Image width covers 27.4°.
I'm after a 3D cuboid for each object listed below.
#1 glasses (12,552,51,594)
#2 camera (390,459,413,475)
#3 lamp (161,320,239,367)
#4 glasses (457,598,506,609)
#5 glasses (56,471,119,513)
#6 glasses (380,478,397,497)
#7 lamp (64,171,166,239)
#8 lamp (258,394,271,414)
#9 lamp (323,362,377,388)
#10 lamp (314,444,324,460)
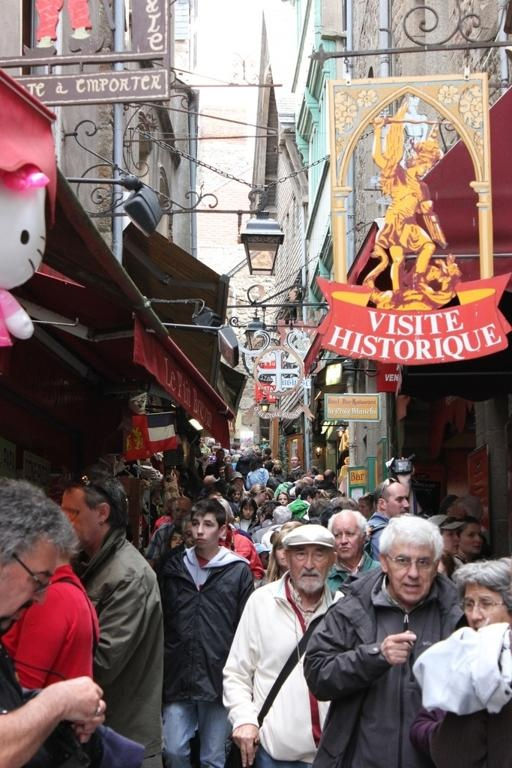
[{"bbox_3d":[-0.580,0.511,2.783,0.106,0.034,0.104,43,-7,15],"label":"glasses"},{"bbox_3d":[1.171,0.660,8.421,0.152,0.147,0.133,-2,-25,4],"label":"camera"},{"bbox_3d":[-0.519,-0.376,9.930,1.015,0.229,0.653,0,21,0],"label":"lamp"},{"bbox_3d":[0.834,0.821,3.912,0.043,0.046,0.199,3,-7,-34],"label":"glasses"},{"bbox_3d":[-0.758,0.510,4.849,0.218,0.214,0.172,14,-3,-30],"label":"glasses"},{"bbox_3d":[0.970,0.795,7.856,0.042,0.141,0.140,18,4,5],"label":"glasses"},{"bbox_3d":[-1.198,-1.266,7.320,0.976,0.348,0.541,0,15,-5],"label":"lamp"},{"bbox_3d":[0.203,0.452,22.504,0.294,0.448,0.291,-5,8,-25],"label":"lamp"},{"bbox_3d":[1.577,-0.184,17.615,0.572,0.346,0.566,0,1,-7],"label":"lamp"},{"bbox_3d":[1.836,1.967,30.062,0.292,0.544,0.289,-3,5,-27],"label":"lamp"}]
